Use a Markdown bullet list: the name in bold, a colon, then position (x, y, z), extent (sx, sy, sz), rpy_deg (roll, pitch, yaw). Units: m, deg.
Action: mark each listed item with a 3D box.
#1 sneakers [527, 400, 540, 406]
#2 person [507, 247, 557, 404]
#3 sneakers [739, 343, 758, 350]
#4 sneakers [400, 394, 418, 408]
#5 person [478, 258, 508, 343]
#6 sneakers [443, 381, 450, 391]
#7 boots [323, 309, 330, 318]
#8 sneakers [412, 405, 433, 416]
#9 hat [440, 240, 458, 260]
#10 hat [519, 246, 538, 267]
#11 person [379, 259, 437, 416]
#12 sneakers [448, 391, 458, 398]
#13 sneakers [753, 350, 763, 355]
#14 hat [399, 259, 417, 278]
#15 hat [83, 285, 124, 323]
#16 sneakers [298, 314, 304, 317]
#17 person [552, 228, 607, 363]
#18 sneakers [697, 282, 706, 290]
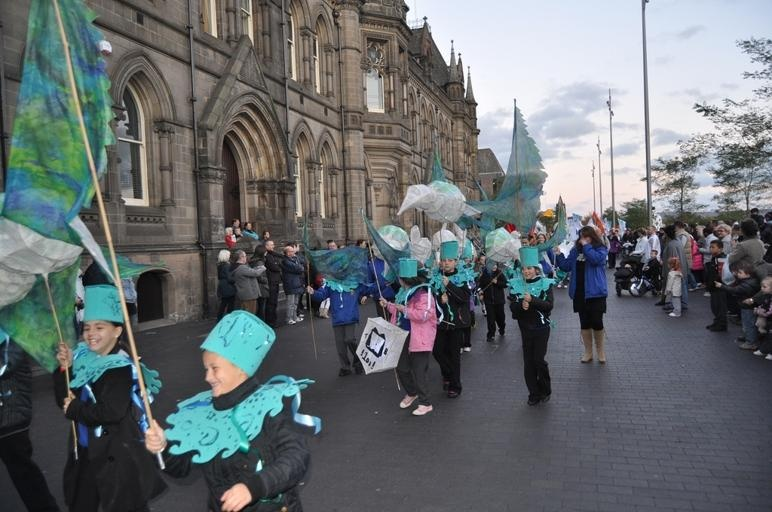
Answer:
- **sneakers**: position (2.187, 2.189, 8.921), extent (0.162, 0.081, 0.073), rpy_deg (4, -27, -21)
- **person**: position (2.199, 1.036, 9.093), extent (0.634, 2.317, 0.694), rpy_deg (-1, 6, 12)
- **sneakers**: position (6.983, 1.756, 11.598), extent (0.284, 0.150, 0.100), rpy_deg (3, 3, 31)
- **sneakers**: position (0.327, 2.212, 9.089), extent (0.123, 0.124, 0.285), rpy_deg (1, 1, 32)
- **person**: position (2.447, 1.003, 13.893), extent (0.584, 1.922, 1.337), rpy_deg (-1, 6, 9)
- **sneakers**: position (0.944, 2.096, 9.603), extent (0.116, 0.135, 0.125), rpy_deg (-3, -7, 13)
- **boots**: position (-1.857, 1.743, 17.870), extent (0.113, 0.257, 0.322), rpy_deg (8, 12, 27)
- **sneakers**: position (0.520, 2.279, 8.786), extent (0.306, 0.128, 0.121), rpy_deg (10, -20, -37)
- **hat**: position (0.969, -0.085, 9.256), extent (0.262, 0.271, 0.260), rpy_deg (2, 10, 16)
- **hat**: position (2.184, 0.019, 9.049), extent (0.270, 0.315, 0.281), rpy_deg (-2, -1, -13)
- **person**: position (0.424, 1.170, 8.989), extent (0.651, 2.241, 0.899), rpy_deg (-3, 6, -7)
- **sneakers**: position (1.039, 2.186, 9.420), extent (0.142, 0.060, 0.085), rpy_deg (4, 22, -7)
- **sneakers**: position (6.880, 1.802, 11.111), extent (0.111, 0.120, 0.267), rpy_deg (0, -4, 31)
- **hat**: position (0.318, 0.204, 8.872), extent (0.255, 0.289, 0.316), rpy_deg (-2, 6, -1)
- **hat**: position (-2.493, 0.400, 5.400), extent (0.338, 0.363, 0.349), rpy_deg (-1, 2, -11)
- **sneakers**: position (-2.543, 1.793, 17.790), extent (0.068, 0.104, 0.113), rpy_deg (26, 2, 36)
- **person**: position (3.691, 0.738, 11.187), extent (0.772, 2.596, 1.186), rpy_deg (0, 6, 18)
- **sneakers**: position (11.417, 1.130, 21.778), extent (0.170, 0.236, 0.533), rpy_deg (-5, -11, 25)
